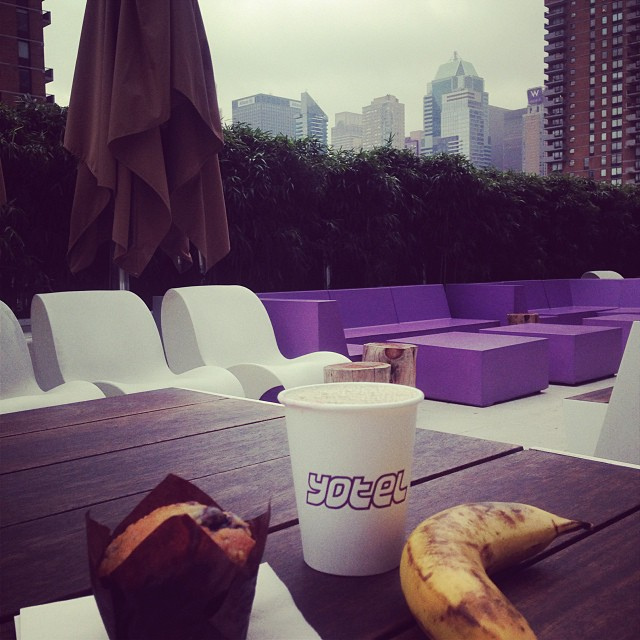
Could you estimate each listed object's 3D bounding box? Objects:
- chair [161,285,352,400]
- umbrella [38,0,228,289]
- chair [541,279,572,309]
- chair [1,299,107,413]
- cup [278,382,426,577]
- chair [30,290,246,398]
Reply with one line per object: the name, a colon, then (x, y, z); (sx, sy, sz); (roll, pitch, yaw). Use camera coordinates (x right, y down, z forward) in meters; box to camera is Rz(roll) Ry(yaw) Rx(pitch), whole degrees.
chair: (-0.313, 0.082, 2.811); (0.697, 0.640, 0.746); (-5, 9, -41)
umbrella: (-0.845, -0.818, 2.797); (0.743, 1.425, 0.745); (-10, 16, -38)
chair: (3.246, -0.362, 7.692); (0.325, 0.374, 0.607); (8, 15, 31)
chair: (-0.836, 0.106, 1.664); (0.352, 0.343, 0.286); (-2, -2, 27)
cup: (0.020, 0.102, 0.394); (0.093, 0.124, 0.085); (0, 13, 0)
chair: (-0.701, 0.144, 2.375); (0.710, 0.589, 0.714); (12, 11, 41)
